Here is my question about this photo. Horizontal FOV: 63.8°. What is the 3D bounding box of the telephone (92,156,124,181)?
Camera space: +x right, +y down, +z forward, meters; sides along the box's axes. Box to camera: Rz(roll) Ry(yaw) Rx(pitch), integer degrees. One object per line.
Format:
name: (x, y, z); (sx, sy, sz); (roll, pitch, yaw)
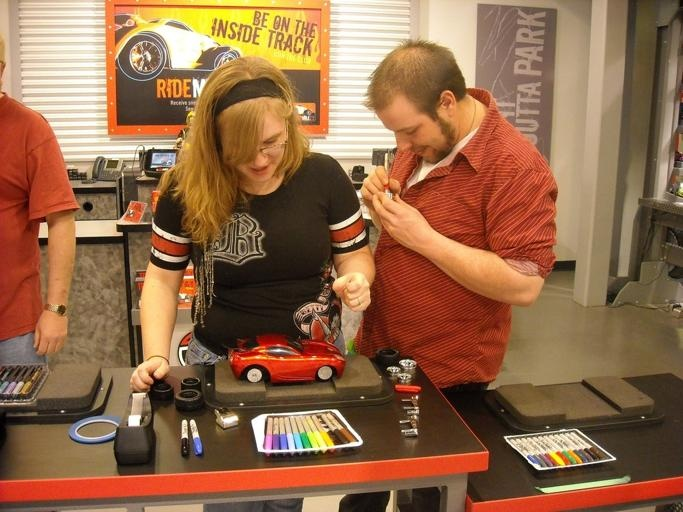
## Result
telephone: (-2.328, -0.871, 5.498); (0.290, 0.229, 0.635); (-6, 12, -28)

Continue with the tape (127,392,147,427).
tape: (-0.529, 0.400, 1.444); (0.026, 0.075, 0.037); (22, -17, -14)

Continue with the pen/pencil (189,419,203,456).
pen/pencil: (-0.376, 0.471, 1.438); (0.023, 0.015, 0.156); (5, 9, -20)

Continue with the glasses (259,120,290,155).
glasses: (-0.202, -0.362, 1.715); (0.050, 0.097, 0.132); (5, 12, 22)
